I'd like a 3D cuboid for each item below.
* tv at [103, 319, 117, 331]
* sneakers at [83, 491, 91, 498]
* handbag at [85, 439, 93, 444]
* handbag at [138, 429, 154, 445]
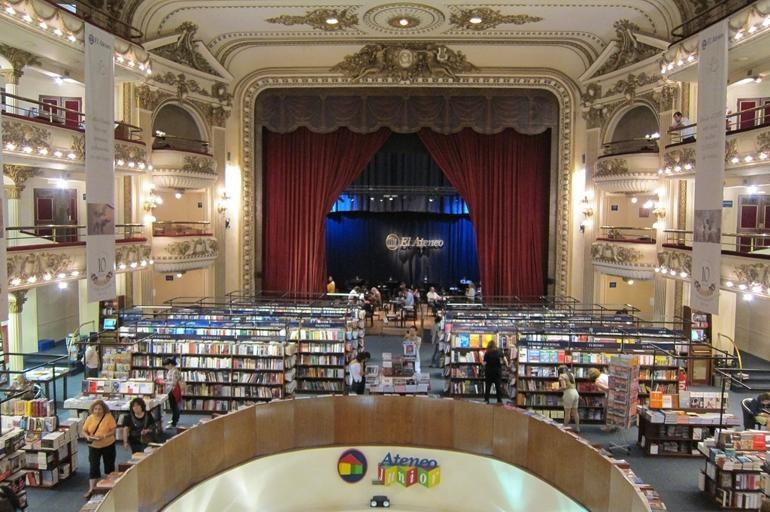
[{"bbox_3d":[-7.484,1.872,16.133,0.307,0.305,0.170,1,-6,-3],"label":"tv"},{"bbox_3d":[-5.609,4.512,11.207,0.169,0.075,0.086,1,-5,-8],"label":"sneakers"},{"bbox_3d":[-5.632,3.501,11.289,0.053,0.093,0.221,-1,-2,-44],"label":"handbag"},{"bbox_3d":[-4.856,3.657,12.138,0.181,0.303,0.551,-1,-1,-12],"label":"handbag"}]
